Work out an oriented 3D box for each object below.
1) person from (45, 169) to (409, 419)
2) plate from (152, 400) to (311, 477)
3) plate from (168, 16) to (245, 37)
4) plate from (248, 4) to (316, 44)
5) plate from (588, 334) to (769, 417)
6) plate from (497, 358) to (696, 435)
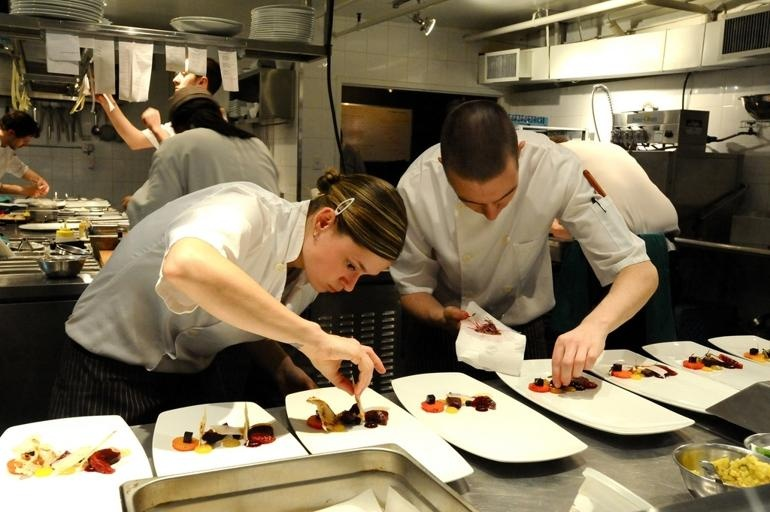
[{"bbox_3d":[-0.562,0.218,2.021,1.185,1.011,0.717,9,17,32],"label":"person"},{"bbox_3d":[-0.496,0.556,1.823,0.449,0.077,0.290,-4,15,-15],"label":"plate"},{"bbox_3d":[-0.959,-1.258,3.115,0.367,0.118,0.206,-3,15,-13],"label":"plate"},{"bbox_3d":[-0.589,-1.346,3.288,0.288,0.111,0.312,-9,20,-41],"label":"plate"},{"bbox_3d":[1.195,0.489,2.258,0.326,0.045,0.333,-6,18,-31],"label":"plate"},{"bbox_3d":[0.779,0.532,2.097,0.252,0.055,0.428,0,12,-29],"label":"plate"}]
